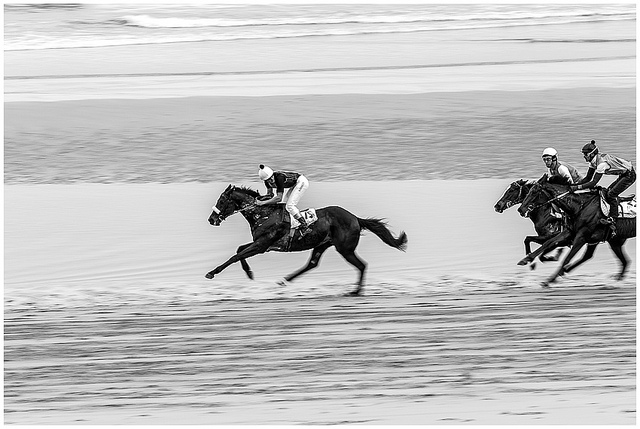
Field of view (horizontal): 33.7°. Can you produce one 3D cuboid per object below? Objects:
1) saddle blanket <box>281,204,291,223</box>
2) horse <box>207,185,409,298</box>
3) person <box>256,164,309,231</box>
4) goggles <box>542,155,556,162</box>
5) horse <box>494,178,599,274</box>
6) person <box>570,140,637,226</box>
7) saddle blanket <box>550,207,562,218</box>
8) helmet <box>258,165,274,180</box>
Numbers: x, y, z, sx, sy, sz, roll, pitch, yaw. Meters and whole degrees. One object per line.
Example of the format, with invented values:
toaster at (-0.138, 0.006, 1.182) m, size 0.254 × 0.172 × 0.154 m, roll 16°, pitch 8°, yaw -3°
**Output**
saddle blanket at (-0.670, -0.020, 19.885) m, size 0.125 × 0.323 × 0.163 m, roll -5°, pitch 11°, yaw -34°
horse at (-0.321, 0.452, 20.204) m, size 4.583 × 1.401 × 0.801 m, roll 4°, pitch 4°, yaw -33°
person at (-0.728, -0.323, 19.919) m, size 0.947 × 1.222 × 0.398 m, roll 1°, pitch 9°, yaw -2°
goggles at (4.542, -1.109, 20.779) m, size 0.221 × 0.059 × 0.247 m, roll -6°, pitch -7°, yaw 40°
horse at (4.510, 0.281, 21.371) m, size 0.984 × 1.592 × 3.931 m, roll 9°, pitch -4°, yaw 45°
person at (5.498, -0.604, 20.513) m, size 1.169 × 1.601 × 0.586 m, roll 3°, pitch 9°, yaw 10°
saddle blanket at (4.655, -0.027, 20.876) m, size 0.227 × 0.075 × 0.232 m, roll 15°, pitch -12°, yaw 15°
helmet at (-1.025, -0.792, 19.705) m, size 0.256 × 0.272 × 0.162 m, roll 3°, pitch 9°, yaw 10°
